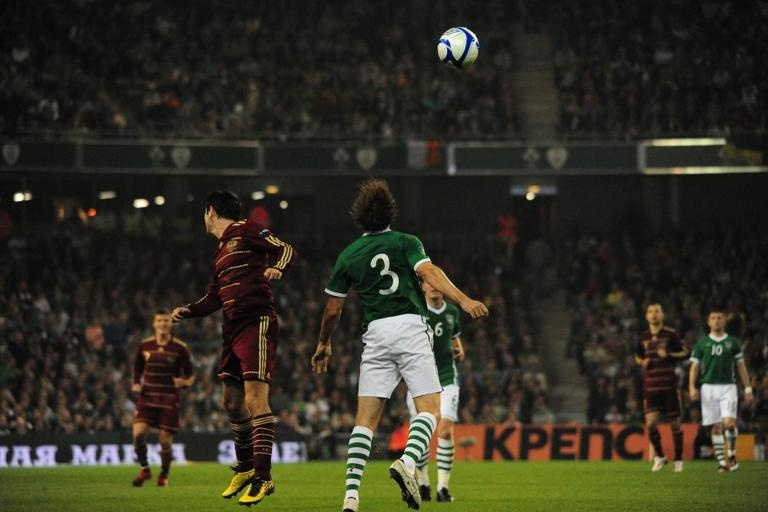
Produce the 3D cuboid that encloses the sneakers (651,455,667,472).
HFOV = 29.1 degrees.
[{"bbox_3d":[3.781,2.865,20.423,0.189,0.201,0.162,-3,-10,11],"label":"sneakers"}]

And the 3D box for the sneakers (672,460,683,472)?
[{"bbox_3d":[4.051,2.902,20.393,0.161,0.202,0.117,1,-46,13],"label":"sneakers"}]

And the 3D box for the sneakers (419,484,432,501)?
[{"bbox_3d":[0.589,3.404,21.253,0.178,0.225,0.186,1,-8,-12],"label":"sneakers"}]

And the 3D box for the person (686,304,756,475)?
[{"bbox_3d":[4.686,1.887,20.664,0.838,2.214,0.382,-4,-9,15],"label":"person"}]

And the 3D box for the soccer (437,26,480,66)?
[{"bbox_3d":[1.032,-2.993,21.092,0.509,0.570,0.533,-6,12,-15],"label":"soccer"}]

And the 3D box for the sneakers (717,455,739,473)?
[{"bbox_3d":[4.719,2.853,20.318,0.127,0.163,0.403,3,-21,6],"label":"sneakers"}]

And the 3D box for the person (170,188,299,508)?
[{"bbox_3d":[-1.898,1.195,19.925,1.123,4.234,1.134,1,-9,-14],"label":"person"}]

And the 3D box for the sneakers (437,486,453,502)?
[{"bbox_3d":[0.861,3.411,21.187,0.168,0.309,0.220,-6,6,-39],"label":"sneakers"}]
